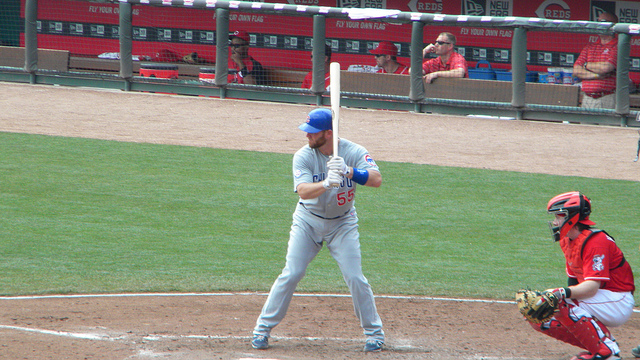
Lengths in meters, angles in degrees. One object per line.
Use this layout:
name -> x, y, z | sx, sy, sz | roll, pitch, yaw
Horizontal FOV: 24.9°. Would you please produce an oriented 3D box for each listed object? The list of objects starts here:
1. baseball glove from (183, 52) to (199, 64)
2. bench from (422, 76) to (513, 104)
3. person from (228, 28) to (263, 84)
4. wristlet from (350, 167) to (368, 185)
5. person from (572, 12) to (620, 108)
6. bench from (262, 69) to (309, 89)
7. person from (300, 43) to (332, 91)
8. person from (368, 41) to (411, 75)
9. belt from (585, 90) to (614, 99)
baseball glove -> -3.343, -3.175, 37.806 | 0.326, 0.144, 0.432 | -1, 1, 1
bench -> 3.813, -2.195, 35.288 | 2.796, 0.522, 0.394 | 8, 10, 44
person -> -1.863, -3.086, 36.760 | 0.874, 1.265, 0.664 | 0, 9, -2
wristlet -> 0.791, -0.064, 27.863 | 0.325, 0.316, 0.193 | 0, 9, -4
person -> 6.724, -2.617, 34.603 | 1.064, 1.786, 0.331 | 6, 11, 34
bench -> -0.880, -2.555, 36.560 | 0.802, 0.180, 0.644 | 3, 18, 7
person -> -0.082, -2.854, 36.429 | 0.753, 1.181, 0.821 | 0, 9, 0
person -> 1.830, -3.023, 35.988 | 0.861, 0.767, 1.039 | 0, 8, 0
belt -> 6.786, -2.039, 34.663 | 0.670, 0.175, 0.114 | 1, 9, 9
